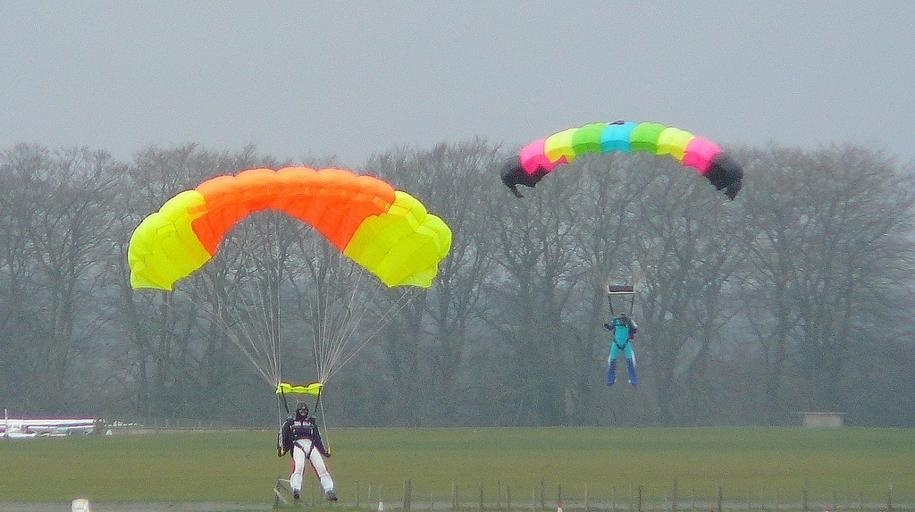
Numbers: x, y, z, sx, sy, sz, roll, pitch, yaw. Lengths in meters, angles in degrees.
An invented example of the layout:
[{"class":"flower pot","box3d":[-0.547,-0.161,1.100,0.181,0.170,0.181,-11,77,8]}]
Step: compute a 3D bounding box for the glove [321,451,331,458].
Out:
[{"class":"glove","box3d":[-4.584,6.889,64.087,0.338,0.157,0.408,15,-22,3]}]
